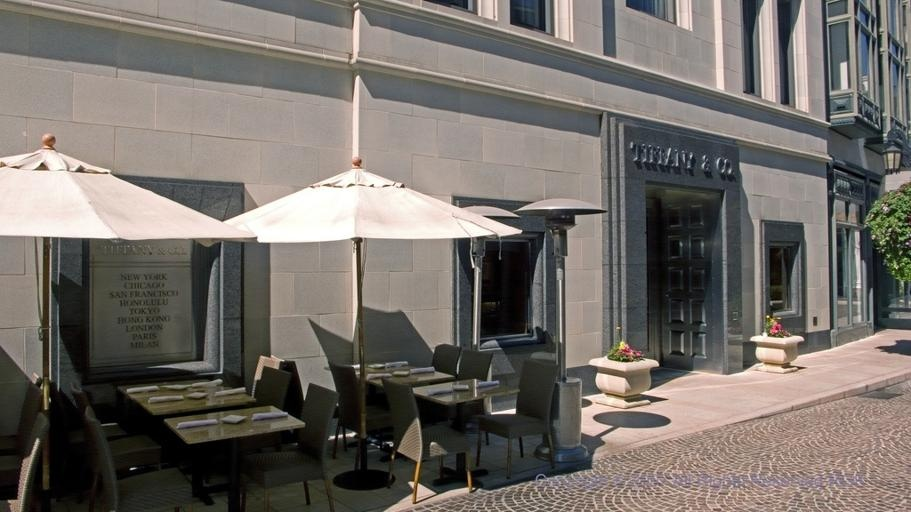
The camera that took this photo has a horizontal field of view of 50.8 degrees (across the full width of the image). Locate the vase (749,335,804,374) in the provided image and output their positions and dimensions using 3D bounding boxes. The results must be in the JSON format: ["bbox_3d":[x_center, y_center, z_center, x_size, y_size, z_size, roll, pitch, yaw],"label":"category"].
[{"bbox_3d":[8.865,2.656,26.581,1.237,0.807,1.142,3,-5,-42],"label":"vase"}]

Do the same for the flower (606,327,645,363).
[{"bbox_3d":[4.111,2.188,23.319,0.664,0.495,0.645,0,-1,-29],"label":"flower"}]

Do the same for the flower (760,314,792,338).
[{"bbox_3d":[8.867,1.914,26.755,0.716,0.528,0.775,1,0,-28],"label":"flower"}]
